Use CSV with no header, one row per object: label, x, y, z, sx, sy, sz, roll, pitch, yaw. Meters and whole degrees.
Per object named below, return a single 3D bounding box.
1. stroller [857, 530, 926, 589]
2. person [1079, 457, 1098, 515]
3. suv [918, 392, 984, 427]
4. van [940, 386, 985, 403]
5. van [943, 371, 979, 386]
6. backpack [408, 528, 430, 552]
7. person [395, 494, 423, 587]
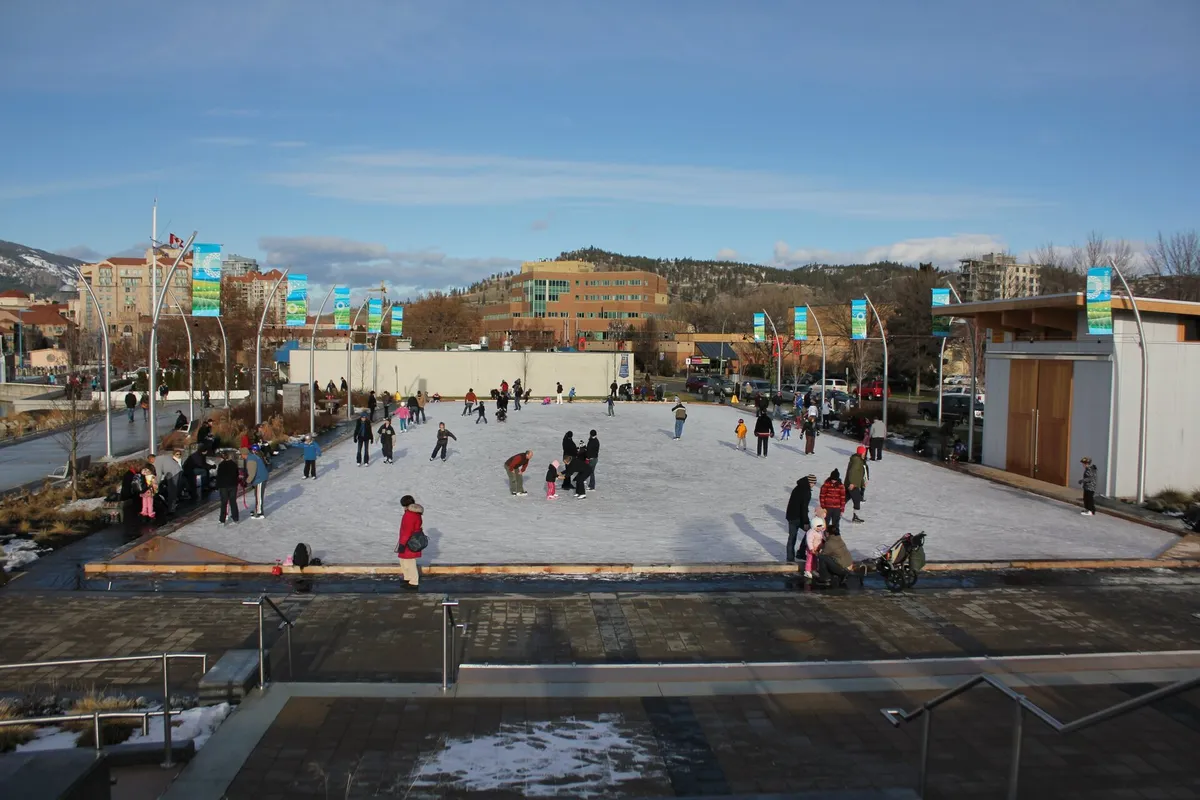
stroller,6.485,3.472,21.309,1.709,0.767,1.202,-16,-4,-6
person,13.594,2.413,27.265,0.396,1.596,0.597,5,11,26
suv,17.853,0.589,49.780,4.140,1.564,1.816,-2,-1,44
van,20.219,-0.226,54.709,1.318,1.023,2.492,-3,2,-44
van,27.526,-1.527,75.026,2.547,1.358,4.136,-1,-2,13
backpack,-3.667,2.870,20.104,0.339,0.506,0.551,3,10,16
person,-3.974,2.916,20.507,0.584,2.047,1.376,-2,10,-13
